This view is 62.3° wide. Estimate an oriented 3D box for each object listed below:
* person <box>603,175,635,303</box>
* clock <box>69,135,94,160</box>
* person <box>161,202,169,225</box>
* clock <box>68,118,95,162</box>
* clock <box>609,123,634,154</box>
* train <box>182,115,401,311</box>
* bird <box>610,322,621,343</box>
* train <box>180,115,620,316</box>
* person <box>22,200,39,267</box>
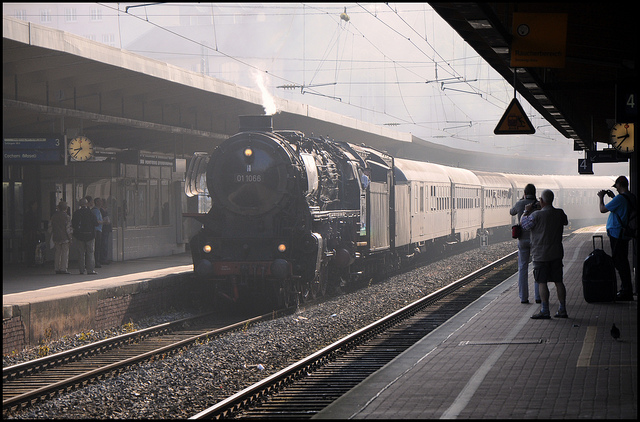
[{"bbox_3d":[6.476,0.666,11.320,0.508,2.666,1.085,-5,0,36],"label":"person"},{"bbox_3d":[-7.925,-2.071,17.433,0.851,0.986,0.126,0,-2,-1],"label":"clock"},{"bbox_3d":[-6.466,0.124,21.985,0.158,0.917,0.434,-5,0,23],"label":"person"},{"bbox_3d":[-8.006,-2.387,17.661,0.803,1.477,0.722,-5,0,-13],"label":"clock"},{"bbox_3d":[9.390,-2.263,16.422,0.597,0.919,0.818,-5,0,33],"label":"clock"},{"bbox_3d":[-1.039,0.095,15.480,3.305,4.327,10.654,-1,-2,15],"label":"train"},{"bbox_3d":[4.993,2.042,8.929,0.134,0.299,0.401,-5,0,29],"label":"bird"},{"bbox_3d":[4.344,-0.372,26.173,3.263,5.982,28.415,-5,0,29],"label":"train"},{"bbox_3d":[-10.177,0.763,18.630,0.569,2.392,0.360,-5,0,-32],"label":"person"}]
